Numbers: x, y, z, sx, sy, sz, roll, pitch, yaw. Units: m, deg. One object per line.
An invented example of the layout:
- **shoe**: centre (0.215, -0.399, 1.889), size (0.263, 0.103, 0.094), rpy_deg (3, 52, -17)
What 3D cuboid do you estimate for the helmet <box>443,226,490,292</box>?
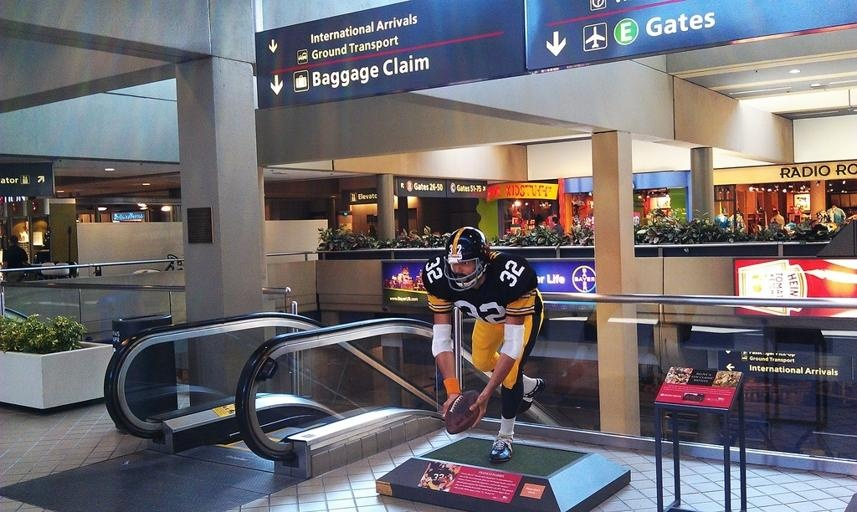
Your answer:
- **helmet**: centre (0.359, 0.033, 5.433), size (0.438, 0.517, 0.575), rpy_deg (-3, 12, 18)
